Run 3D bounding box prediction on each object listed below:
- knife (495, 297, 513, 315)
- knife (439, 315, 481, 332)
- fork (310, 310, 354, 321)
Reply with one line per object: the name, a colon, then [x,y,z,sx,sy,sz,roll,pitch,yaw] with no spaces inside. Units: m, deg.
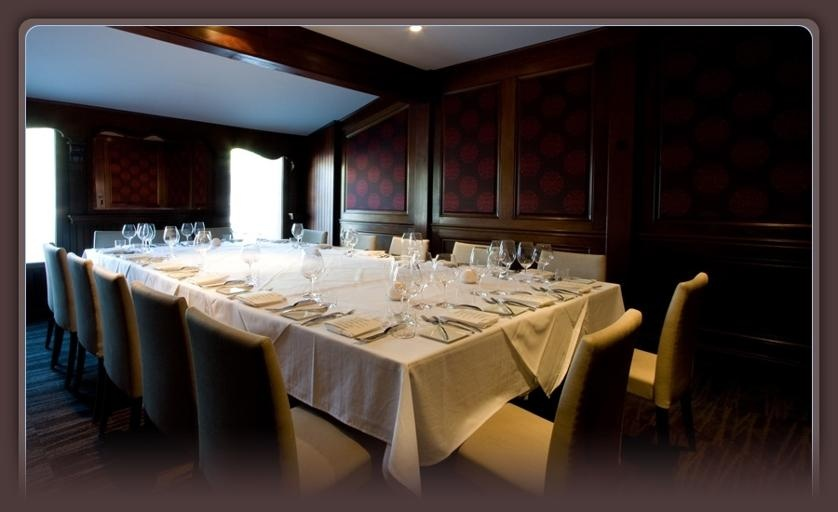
knife: [0.460,0.279,2.695,0.048,0.022,0.141,-9,10,-6]
knife: [0.200,0.343,2.455,0.026,0.021,0.176,-23,24,-33]
fork: [-0.460,0.309,2.526,0.026,0.021,0.151,-1,7,34]
